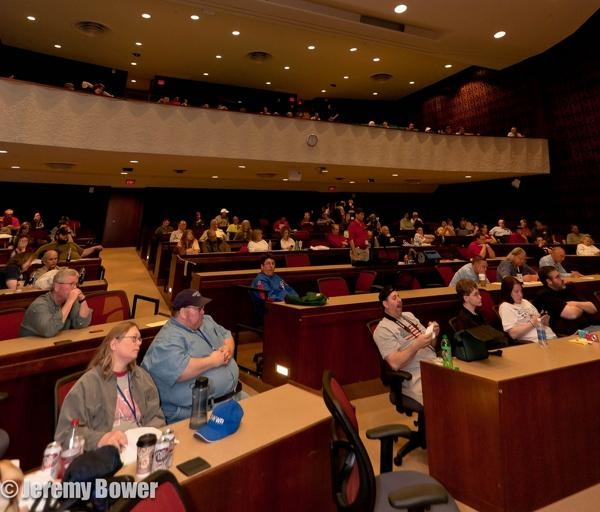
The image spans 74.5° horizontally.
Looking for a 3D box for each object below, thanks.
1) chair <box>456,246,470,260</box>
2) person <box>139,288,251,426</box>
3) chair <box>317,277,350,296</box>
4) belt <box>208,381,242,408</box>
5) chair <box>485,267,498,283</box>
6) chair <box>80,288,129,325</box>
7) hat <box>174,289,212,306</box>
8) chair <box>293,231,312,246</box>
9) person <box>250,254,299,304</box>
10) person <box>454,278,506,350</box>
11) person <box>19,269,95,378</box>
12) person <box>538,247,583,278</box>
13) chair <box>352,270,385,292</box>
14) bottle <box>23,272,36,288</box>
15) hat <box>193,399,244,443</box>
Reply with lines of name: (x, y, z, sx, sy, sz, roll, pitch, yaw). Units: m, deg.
chair: (4.013, -0.093, 9.715, 0.264, 0.337, 0.246, 1, 0, 42)
person: (-0.804, 0.792, 2.951, 0.648, 1.037, 0.749, 5, 7, 20)
chair: (0.423, 0.401, 5.291, 0.261, 0.413, 0.275, 0, -4, -20)
belt: (-0.507, 0.969, 2.785, 0.149, 0.061, 0.109, -25, -4, 13)
chair: (3.109, 0.303, 6.403, 0.227, 0.233, 0.118, -2, 2, -31)
chair: (-1.749, 0.448, 3.606, 0.254, 0.451, 0.320, 0, -2, -25)
hat: (-0.784, 0.289, 2.856, 0.188, 0.083, 0.138, 1, 0, -7)
chair: (0.039, -0.522, 11.703, 0.516, 0.648, 0.547, 1, -3, -19)
person: (-0.350, 0.347, 5.173, 0.435, 0.727, 0.752, -8, -1, 32)
person: (1.786, 0.615, 3.935, 0.453, 0.807, 0.471, -8, 10, 12)
person: (-1.966, 0.382, 3.193, 0.478, 1.018, 0.475, 3, 3, 15)
person: (4.414, 0.092, 6.660, 0.808, 0.666, 0.540, -3, -5, 31)
chair: (1.041, 0.368, 6.101, 0.339, 0.512, 0.351, -1, -11, 29)
bottle: (-3.476, 0.297, 5.064, 0.131, 0.190, 0.180, -4, 9, -14)
hat: (-0.416, 0.846, 2.075, 0.164, 0.141, 0.278, 14, 8, 39)
